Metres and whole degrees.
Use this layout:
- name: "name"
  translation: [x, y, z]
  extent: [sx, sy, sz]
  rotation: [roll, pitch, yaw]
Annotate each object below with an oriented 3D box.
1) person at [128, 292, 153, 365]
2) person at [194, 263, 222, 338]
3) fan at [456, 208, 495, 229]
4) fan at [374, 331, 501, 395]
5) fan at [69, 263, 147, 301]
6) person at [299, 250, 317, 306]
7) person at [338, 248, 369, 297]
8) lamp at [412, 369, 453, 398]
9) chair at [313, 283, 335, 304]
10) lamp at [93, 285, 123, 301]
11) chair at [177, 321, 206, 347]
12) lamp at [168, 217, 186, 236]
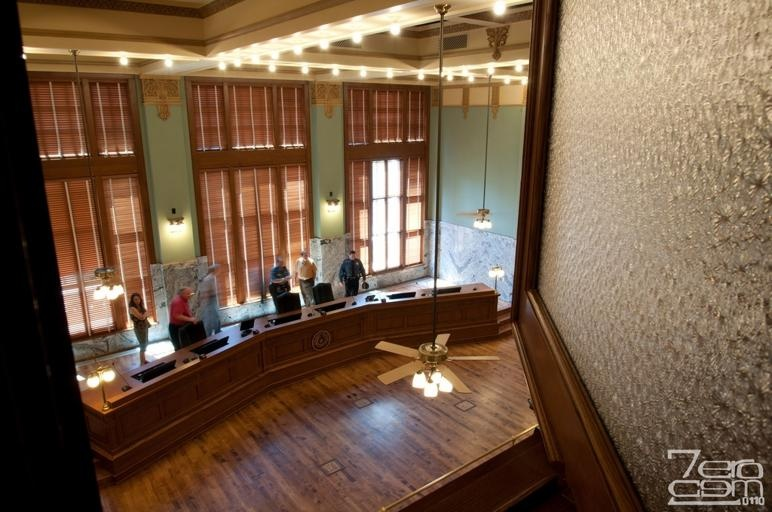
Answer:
- name: "person"
  translation: [-4.330, 1.260, 8.749]
  extent: [0.327, 1.143, 1.061]
  rotation: [-14, -2, -27]
- name: "person"
  translation: [-3.127, 0.823, 9.146]
  extent: [0.489, 1.465, 0.474]
  rotation: [2, 19, -4]
- name: "fan"
  translation: [1.858, -0.666, 10.325]
  extent: [0.709, 0.270, 0.702]
  rotation: [4, 15, 17]
- name: "fan"
  translation: [0.665, 1.517, 6.873]
  extent: [1.253, 0.440, 1.150]
  rotation: [-10, 15, -38]
- name: "fan"
  translation: [-4.746, 0.433, 8.302]
  extent: [0.690, 0.196, 0.677]
  rotation: [2, 14, 5]
- name: "person"
  translation: [-1.694, 0.481, 10.656]
  extent: [0.430, 1.135, 0.649]
  rotation: [-15, -2, -9]
- name: "person"
  translation: [-0.773, 0.378, 11.046]
  extent: [0.557, 0.988, 1.251]
  rotation: [-15, -2, -6]
- name: "lamp"
  translation: [0.439, 1.175, 4.564]
  extent: [0.333, 0.255, 0.291]
  rotation: [-14, -2, -17]
- name: "chair"
  translation: [-1.216, 0.693, 9.327]
  extent: [0.353, 0.474, 0.394]
  rotation: [-4, 7, -24]
- name: "lamp"
  translation: [-3.959, 0.501, 7.030]
  extent: [0.426, 0.203, 0.232]
  rotation: [-16, -3, 41]
- name: "chair"
  translation: [-2.901, 1.152, 7.343]
  extent: [0.366, 0.348, 0.286]
  rotation: [-14, -2, -24]
- name: "lamp"
  translation: [-3.912, -0.565, 9.207]
  extent: [0.326, 0.314, 0.086]
  rotation: [2, 15, -34]
